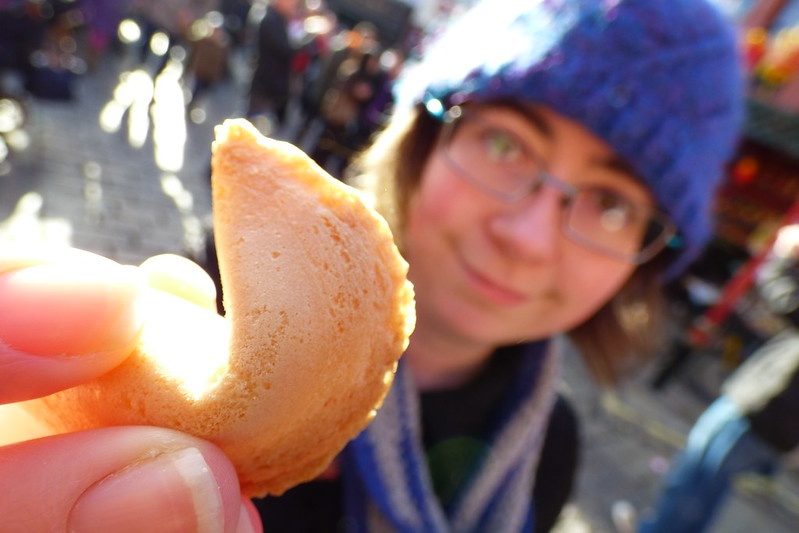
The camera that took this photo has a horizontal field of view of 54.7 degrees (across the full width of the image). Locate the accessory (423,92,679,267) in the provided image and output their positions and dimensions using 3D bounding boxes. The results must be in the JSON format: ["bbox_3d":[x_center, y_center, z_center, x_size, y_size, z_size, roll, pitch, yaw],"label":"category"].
[{"bbox_3d":[0.291,-0.137,1.444,0.339,0.091,0.328,42,2,11],"label":"accessory"}]
